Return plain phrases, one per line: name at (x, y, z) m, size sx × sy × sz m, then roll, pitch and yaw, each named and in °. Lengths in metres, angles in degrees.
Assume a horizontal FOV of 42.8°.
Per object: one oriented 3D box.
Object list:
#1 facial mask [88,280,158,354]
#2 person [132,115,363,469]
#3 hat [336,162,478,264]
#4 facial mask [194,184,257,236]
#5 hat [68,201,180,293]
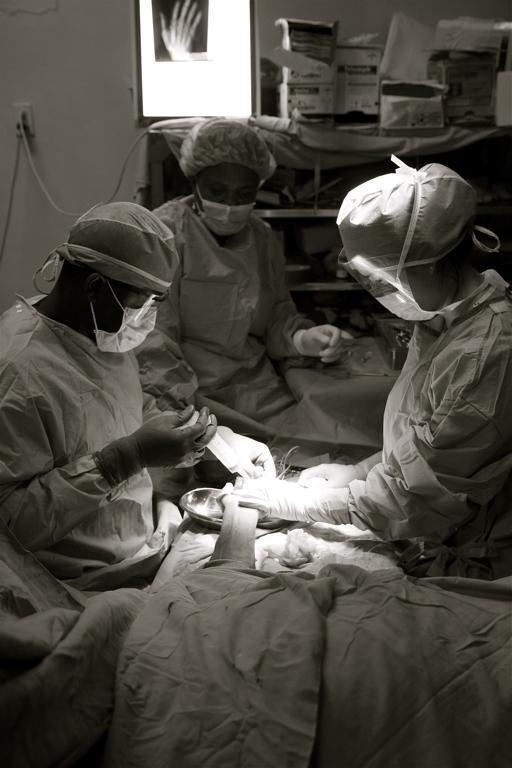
facial mask at (-0.324, -0.162, 1.581) m, size 0.060 × 0.149 × 0.145 m, roll -3°, pitch 15°, yaw 40°
person at (-0.013, -0.347, 2.302) m, size 0.748 × 1.101 × 0.914 m, roll -13°, pitch 21°, yaw -42°
hat at (0.378, -0.440, 1.651) m, size 0.351 × 0.254 × 0.242 m, roll -16°, pitch 36°, yaw -19°
facial mask at (-0.105, -0.648, 2.373) m, size 0.253 × 0.149 × 0.262 m, roll -2°, pitch 46°, yaw -11°
hat at (-0.330, -0.325, 1.537) m, size 0.273 × 0.176 × 0.207 m, roll 6°, pitch 12°, yaw -10°
